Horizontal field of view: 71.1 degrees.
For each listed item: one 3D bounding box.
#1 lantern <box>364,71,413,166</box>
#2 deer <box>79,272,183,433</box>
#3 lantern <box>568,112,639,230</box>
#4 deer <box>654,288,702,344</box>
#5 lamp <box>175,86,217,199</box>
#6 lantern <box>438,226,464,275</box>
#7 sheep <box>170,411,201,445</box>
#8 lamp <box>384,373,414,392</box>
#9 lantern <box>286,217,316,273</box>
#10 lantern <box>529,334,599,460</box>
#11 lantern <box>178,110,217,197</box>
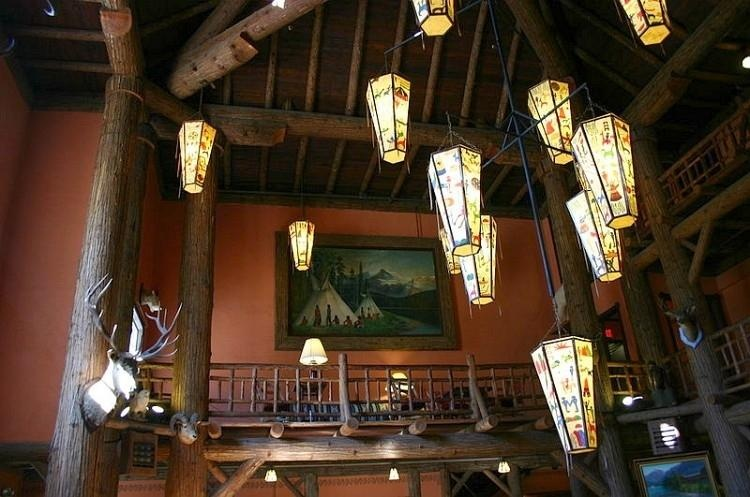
[{"bbox_3d":[0.177,-1.539,6.281,0.558,0.906,0.558,0,-11,-26],"label":"lantern"},{"bbox_3d":[-3.100,1.384,6.477,1.043,1.805,1.230,5,1,-4],"label":"deer"},{"bbox_3d":[2.427,-0.818,5.487,0.575,1.279,0.323,-13,-24,20],"label":"lantern"},{"bbox_3d":[5.125,1.164,8.656,0.517,0.943,0.942,-22,-8,37],"label":"deer"},{"bbox_3d":[-2.602,-1.691,7.818,0.504,1.536,0.485,5,-1,10],"label":"lamp"},{"bbox_3d":[1.026,-0.078,7.313,0.238,0.811,0.203,10,-29,-20],"label":"lantern"},{"bbox_3d":[-2.810,2.746,7.981,0.278,0.493,0.517,-22,-24,39],"label":"sheep"},{"bbox_3d":[0.466,2.532,10.103,0.687,0.257,0.797,0,-25,-1],"label":"lamp"},{"bbox_3d":[-1.395,-0.121,10.112,0.427,1.056,0.522,0,-23,-10],"label":"lantern"},{"bbox_3d":[1.998,1.477,5.380,0.610,1.131,0.415,-12,-24,19],"label":"lantern"},{"bbox_3d":[-2.626,-1.382,7.721,0.473,1.189,0.286,3,-23,-17],"label":"lantern"}]
